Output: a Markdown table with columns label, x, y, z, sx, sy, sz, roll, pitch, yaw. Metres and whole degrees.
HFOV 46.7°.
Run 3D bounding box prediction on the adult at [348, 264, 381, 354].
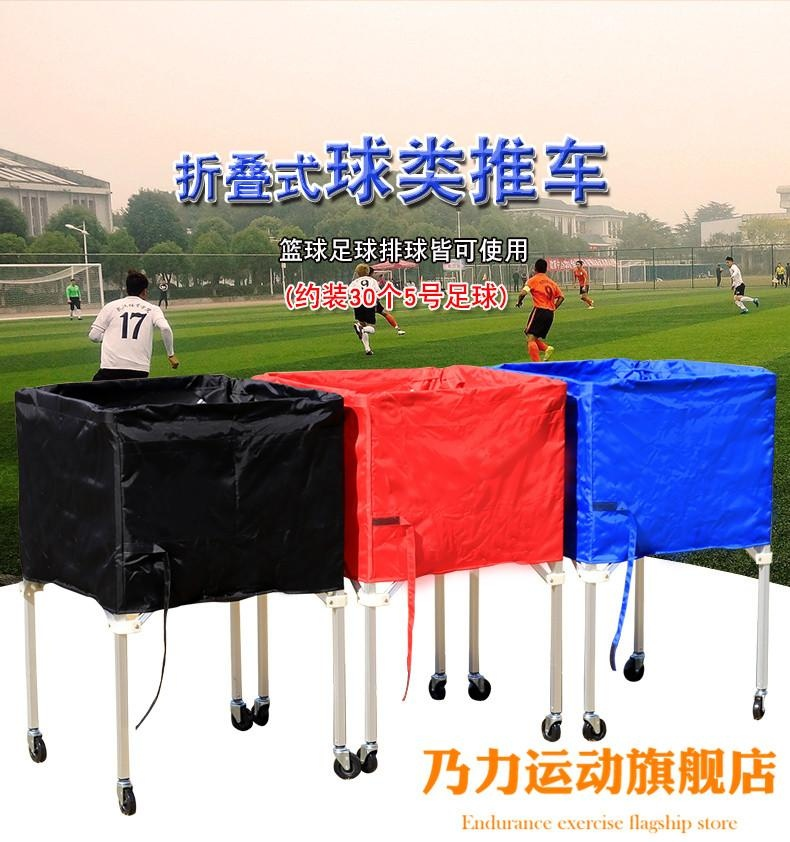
| label | x | y | z | sx | sy | sz | roll | pitch | yaw |
| --- | --- | --- | --- | --- | --- | --- | --- | --- | --- |
| adult | -0.468 | -2.259 | 18.694 | 0.554 | 1.866 | 1.433 | -1 | 6 | -1 |

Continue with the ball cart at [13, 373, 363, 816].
| label | x | y | z | sx | sy | sz | roll | pitch | yaw |
| --- | --- | --- | --- | --- | --- | --- | --- | --- | --- |
| ball cart | -0.724 | 0.540 | 3.223 | 0.885 | 1.330 | 1.133 | -5 | 7 | -34 |

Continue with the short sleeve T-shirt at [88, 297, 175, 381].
| label | x | y | z | sx | sy | sz | roll | pitch | yaw |
| --- | --- | --- | --- | --- | --- | --- | --- | --- | --- |
| short sleeve T-shirt | -2.091 | -0.725 | 7.758 | 0.617 | 0.749 | 0.608 | 1 | 0 | -29 |

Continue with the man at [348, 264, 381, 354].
| label | x | y | z | sx | sy | sz | roll | pitch | yaw |
| --- | --- | --- | --- | --- | --- | --- | --- | --- | --- |
| man | -0.467 | -2.254 | 18.652 | 0.554 | 1.866 | 1.349 | -1 | 6 | -1 |

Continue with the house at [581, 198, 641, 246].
| label | x | y | z | sx | sy | sz | roll | pitch | yaw |
| --- | --- | --- | --- | --- | --- | --- | --- | --- | --- |
| house | 21.772 | -20.500 | 95.885 | 4.294 | 4.883 | 12.021 | 0 | 7 | 12 |

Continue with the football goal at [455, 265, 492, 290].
| label | x | y | z | sx | sy | sz | roll | pitch | yaw |
| --- | --- | --- | --- | --- | --- | --- | --- | --- | --- |
| football goal | 5.092 | -9.197 | 57.580 | 1.896 | 1.364 | 8.028 | -1 | 7 | 4 |

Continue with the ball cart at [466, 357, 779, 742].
| label | x | y | z | sx | sy | sz | roll | pitch | yaw |
| --- | --- | --- | --- | --- | --- | --- | --- | --- | --- |
| ball cart | 0.949 | 0.409 | 4.222 | 1.162 | 1.886 | 1.279 | 1 | 0 | -23 |

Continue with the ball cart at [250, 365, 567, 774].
| label | x | y | z | sx | sy | sz | roll | pitch | yaw |
| --- | --- | --- | --- | --- | --- | --- | --- | --- | --- |
| ball cart | 0.091 | 0.495 | 3.983 | 1.195 | 1.974 | 1.215 | 0 | 2 | -30 |

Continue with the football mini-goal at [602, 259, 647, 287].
| label | x | y | z | sx | sy | sz | roll | pitch | yaw |
| --- | --- | --- | --- | --- | --- | --- | --- | --- | --- |
| football mini-goal | 13.874 | -9.007 | 56.122 | 1.838 | 1.384 | 1.944 | -9 | 14 | -28 |
